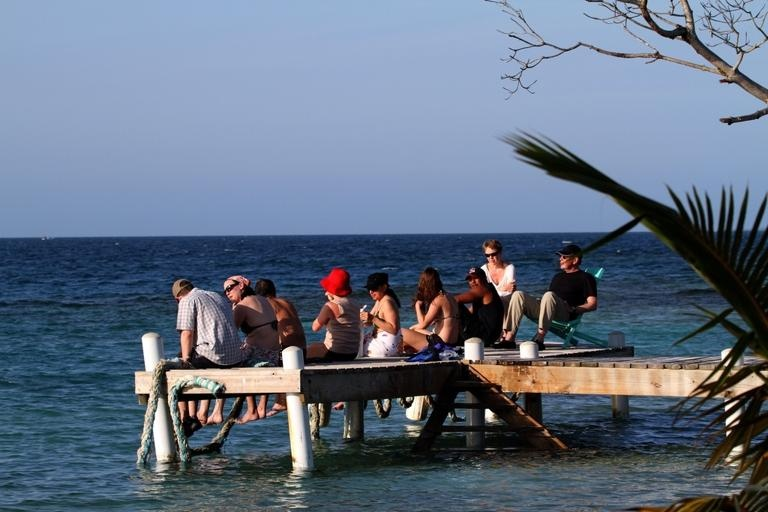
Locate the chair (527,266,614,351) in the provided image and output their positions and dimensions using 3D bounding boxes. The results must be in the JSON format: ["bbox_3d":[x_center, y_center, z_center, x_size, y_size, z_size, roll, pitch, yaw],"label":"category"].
[{"bbox_3d":[3.836,1.203,33.634,1.949,1.619,1.220,-2,-1,-19],"label":"chair"}]

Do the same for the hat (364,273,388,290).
[{"bbox_3d":[-0.138,0.480,31.361,0.420,0.194,0.291,0,-4,-29],"label":"hat"}]

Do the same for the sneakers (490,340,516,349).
[{"bbox_3d":[2.250,1.706,32.256,0.473,0.150,0.156,3,0,0],"label":"sneakers"}]
